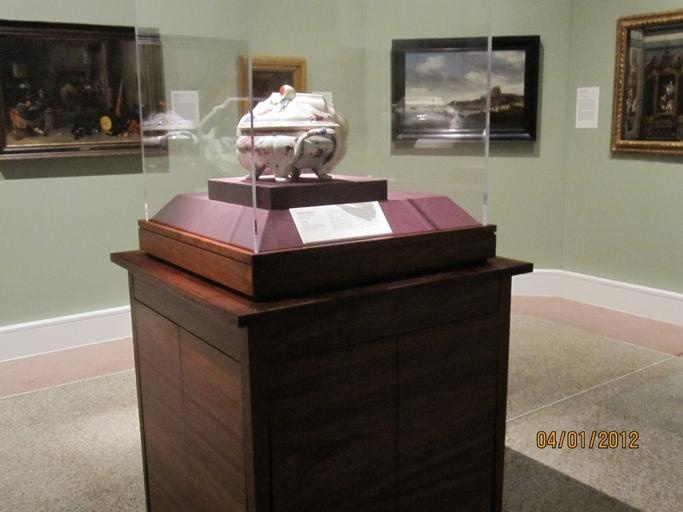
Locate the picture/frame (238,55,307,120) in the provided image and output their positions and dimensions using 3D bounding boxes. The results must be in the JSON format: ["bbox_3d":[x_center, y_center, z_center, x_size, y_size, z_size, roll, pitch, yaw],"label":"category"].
[{"bbox_3d":[-0.242,-0.562,1.770,0.211,0.201,0.031,-12,21,-35],"label":"picture/frame"}]
